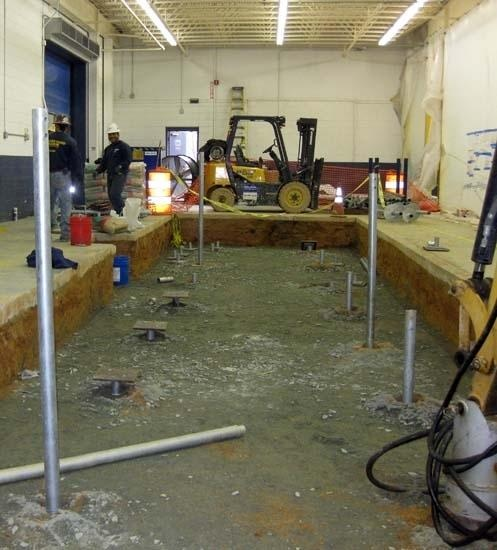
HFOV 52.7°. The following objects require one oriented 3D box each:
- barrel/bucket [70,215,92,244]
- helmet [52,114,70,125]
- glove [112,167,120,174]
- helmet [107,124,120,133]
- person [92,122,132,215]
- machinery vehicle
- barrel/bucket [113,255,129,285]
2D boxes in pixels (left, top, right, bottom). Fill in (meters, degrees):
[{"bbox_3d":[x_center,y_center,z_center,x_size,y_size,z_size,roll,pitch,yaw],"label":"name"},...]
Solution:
[{"bbox_3d":[-1.866,-0.490,5.565,0.224,0.317,0.321,-2,10,-19],"label":"barrel/bucket"},{"bbox_3d":[-2.675,-2.164,7.071,0.255,0.103,0.235,5,14,16],"label":"helmet"},{"bbox_3d":[-2.246,-1.776,8.531,0.046,0.107,0.188,-7,13,-42],"label":"glove"},{"bbox_3d":[-2.335,-2.515,8.652,0.194,0.114,0.228,-1,13,-10],"label":"helmet"},{"bbox_3d":[-2.335,-1.824,8.680,0.373,1.527,0.689,-7,13,-40],"label":"person"},{"bbox_3d":[-0.117,-2.685,12.107,3.768,1.960,1.536,-1,19,-6],"label":"machinery vehicle"},{"bbox_3d":[-1.564,-0.052,6.203,0.150,0.353,0.246,8,12,32],"label":"barrel/bucket"}]
